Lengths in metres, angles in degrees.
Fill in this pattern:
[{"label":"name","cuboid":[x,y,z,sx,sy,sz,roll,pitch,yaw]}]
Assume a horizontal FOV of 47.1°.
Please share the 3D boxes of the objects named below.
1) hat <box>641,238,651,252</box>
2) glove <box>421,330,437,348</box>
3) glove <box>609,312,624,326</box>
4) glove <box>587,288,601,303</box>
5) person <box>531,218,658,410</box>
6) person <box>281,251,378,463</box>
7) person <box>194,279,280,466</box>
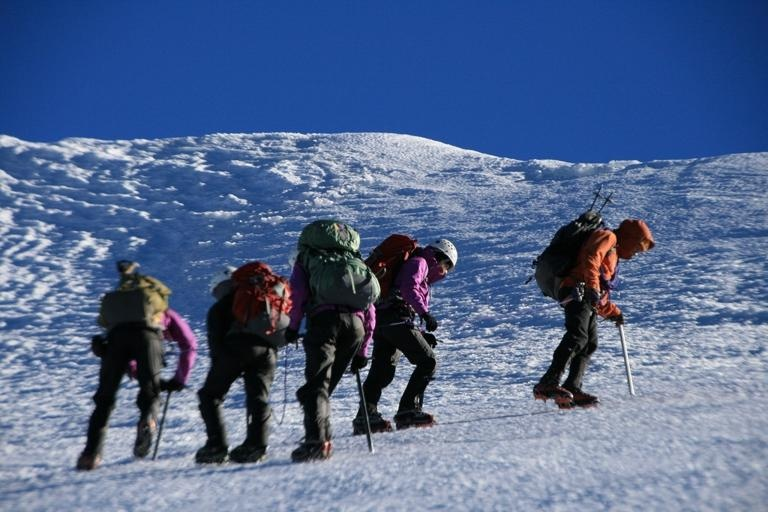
[{"label":"hat","cuboid":[4.551,-0.175,15.376,0.216,0.194,0.083,2,-6,9]},{"label":"glove","cuboid":[0.774,1.440,15.255,0.247,0.270,0.316,-1,6,-13]},{"label":"glove","cuboid":[4.149,1.112,15.597,0.299,0.223,0.118,22,-8,-34]},{"label":"glove","cuboid":[3.520,0.668,14.837,0.214,0.256,0.246,1,-1,-13]},{"label":"person","cuboid":[3.534,0.938,15.167,1.669,3.200,0.837,2,-2,-33]},{"label":"person","cuboid":[-0.961,1.619,14.091,1.124,3.174,0.727,1,-1,-5]},{"label":"person","cuboid":[-2.388,1.871,14.399,1.338,2.953,0.733,1,-1,-2]}]
